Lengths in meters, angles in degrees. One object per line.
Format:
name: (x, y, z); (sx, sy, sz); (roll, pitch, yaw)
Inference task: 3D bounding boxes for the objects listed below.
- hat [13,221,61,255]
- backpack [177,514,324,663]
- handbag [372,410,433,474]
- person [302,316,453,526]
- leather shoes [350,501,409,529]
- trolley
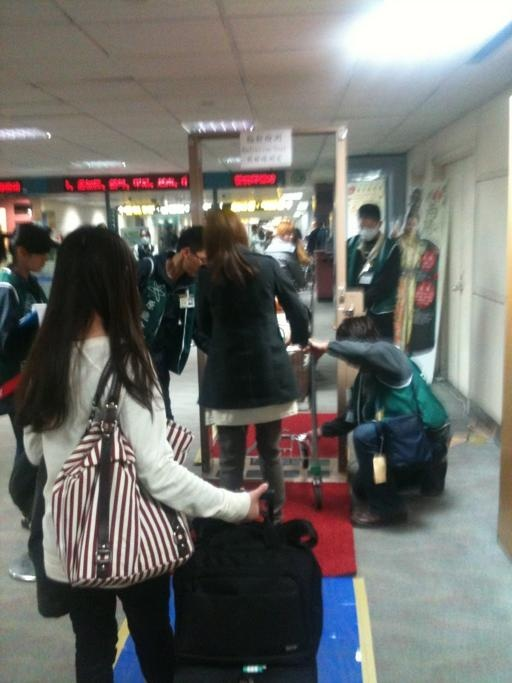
hat: (-0.882, -0.412, 2.101); (0.134, 0.144, 0.115); (-20, 20, 12)
backpack: (0.000, 0.468, 1.106); (0.265, 0.290, 0.282); (0, 29, 4)
handbag: (0.686, 0.478, 2.395); (0.284, 0.226, 0.117); (-5, 9, -22)
person: (0.589, 0.402, 2.644); (0.689, 1.058, 0.764); (-6, -20, 22)
leather shoes: (0.580, 0.828, 2.423); (0.211, 0.098, 0.129); (4, -3, -15)
trolley: (0.033, 0.265, 2.833); (0.654, 1.409, 0.653); (-1, 9, -1)
